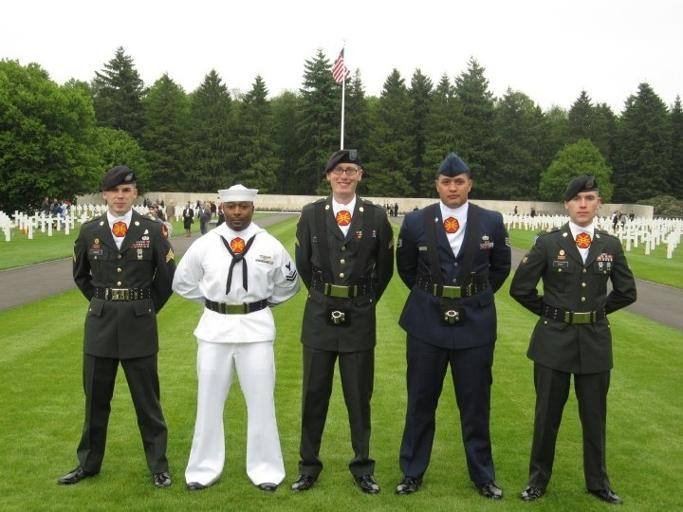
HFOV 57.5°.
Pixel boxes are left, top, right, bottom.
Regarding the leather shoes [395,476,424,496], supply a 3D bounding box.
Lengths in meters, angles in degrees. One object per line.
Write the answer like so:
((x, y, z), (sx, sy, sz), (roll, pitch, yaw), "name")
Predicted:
((0.646, 2.247, 6.089), (0.104, 0.109, 0.275), (-1, -6, 32), "leather shoes")

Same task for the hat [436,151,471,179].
((1.113, -0.920, 6.332), (0.243, 0.165, 0.340), (-2, 10, 3), "hat")

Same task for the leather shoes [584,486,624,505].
((2.538, 2.275, 5.989), (0.266, 0.115, 0.108), (5, 10, 44), "leather shoes")

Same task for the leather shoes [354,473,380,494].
((0.253, 2.223, 6.103), (0.244, 0.133, 0.188), (1, 7, 2), "leather shoes")

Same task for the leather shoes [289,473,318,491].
((-0.372, 2.227, 6.140), (0.104, 0.107, 0.266), (13, -2, 34), "leather shoes")

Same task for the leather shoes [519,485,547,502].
((1.836, 2.263, 5.998), (0.221, 0.093, 0.105), (-14, 30, -27), "leather shoes")

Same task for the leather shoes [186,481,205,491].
((-1.418, 2.246, 6.072), (0.123, 0.041, 0.075), (8, 24, -21), "leather shoes")

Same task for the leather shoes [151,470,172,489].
((-1.748, 2.196, 6.110), (0.085, 0.099, 0.228), (10, -4, -19), "leather shoes")

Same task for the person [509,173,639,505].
((2.260, 0.758, 6.169), (1.137, 3.073, 0.925), (2, 6, 9), "person")

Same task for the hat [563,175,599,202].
((2.407, -0.700, 6.310), (0.285, 0.144, 0.337), (-7, -2, -6), "hat")

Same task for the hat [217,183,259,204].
((-1.046, -0.620, 6.298), (0.349, 0.189, 0.573), (0, 7, -10), "hat")

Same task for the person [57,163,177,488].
((-2.231, 0.664, 6.253), (1.049, 3.074, 0.819), (0, 6, -8), "person")

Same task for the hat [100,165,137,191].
((-2.264, -0.784, 6.354), (0.332, 0.259, 0.337), (-2, 7, -22), "hat")

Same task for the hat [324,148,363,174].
((0.015, -0.970, 6.401), (0.351, 0.256, 0.399), (1, 7, -2), "hat")

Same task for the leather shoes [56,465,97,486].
((-2.605, 2.162, 6.162), (0.361, 0.141, 0.119), (3, 3, -34), "leather shoes")

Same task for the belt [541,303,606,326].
((2.322, 0.586, 6.212), (0.589, 0.160, 0.179), (2, 7, 9), "belt")
